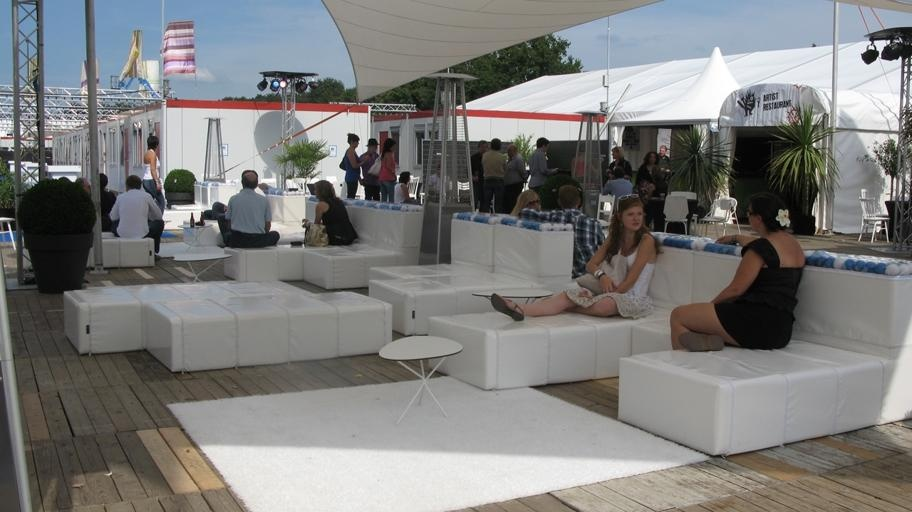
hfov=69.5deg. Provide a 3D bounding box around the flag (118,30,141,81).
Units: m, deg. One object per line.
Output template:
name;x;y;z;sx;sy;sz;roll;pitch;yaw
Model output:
flag;-18.865;-11.821;38.437;1.135;2.883;3.114;-7;12;-35

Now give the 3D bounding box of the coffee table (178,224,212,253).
coffee table;-4.722;-0.345;12.047;0.741;0.460;0.718;-1;1;-23

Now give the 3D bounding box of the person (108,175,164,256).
person;-5.513;-0.659;11.399;0.858;1.387;0.827;1;8;-24

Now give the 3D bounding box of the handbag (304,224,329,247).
handbag;-2.213;-0.326;10.681;0.400;0.380;0.285;3;-2;-5

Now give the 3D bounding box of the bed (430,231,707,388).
bed;1.270;0.539;6.805;2.672;1.425;1.351;-1;4;-26

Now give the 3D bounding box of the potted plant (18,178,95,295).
potted plant;-5.510;-0.278;9.187;0.926;1.581;0.393;-4;11;-21

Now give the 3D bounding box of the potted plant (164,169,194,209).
potted plant;-8.838;-2.183;21.675;1.141;1.175;1.149;0;1;-5

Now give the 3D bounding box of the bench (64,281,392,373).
bench;-2.439;0.745;7.192;3.393;0.648;1.279;-1;10;-2

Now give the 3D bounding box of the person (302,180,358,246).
person;-1.999;-0.694;10.765;0.862;1.104;0.727;14;21;42

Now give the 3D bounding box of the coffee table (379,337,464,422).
coffee table;-0.338;0.993;6.034;0.848;0.610;0.692;-3;3;-25

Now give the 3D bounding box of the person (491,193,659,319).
person;1.296;0.064;6.816;1.825;1.218;0.948;-8;12;-20

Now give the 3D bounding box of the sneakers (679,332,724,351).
sneakers;2.161;0.765;5.824;0.336;0.161;0.105;0;-1;3

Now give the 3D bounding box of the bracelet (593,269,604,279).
bracelet;1.506;0.187;6.972;0.082;0.083;0.087;-7;15;-17

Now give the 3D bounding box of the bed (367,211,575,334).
bed;0.168;0.221;8.151;1.779;0.945;1.854;-2;5;-25
